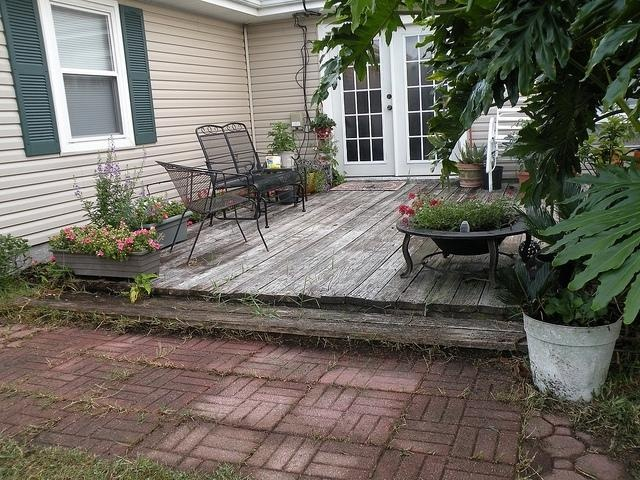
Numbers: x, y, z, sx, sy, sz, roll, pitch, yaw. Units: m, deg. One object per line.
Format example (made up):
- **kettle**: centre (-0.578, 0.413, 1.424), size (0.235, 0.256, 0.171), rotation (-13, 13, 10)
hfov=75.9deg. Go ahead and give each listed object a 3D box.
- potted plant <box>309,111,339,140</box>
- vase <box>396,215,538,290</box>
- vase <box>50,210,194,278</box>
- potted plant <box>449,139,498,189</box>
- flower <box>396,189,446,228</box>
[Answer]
- **potted plant**: centre (0.095, -2.243, 7.985), size (0.577, 0.500, 0.559), rotation (-2, 16, -2)
- **vase**: centre (1.127, 0.031, 3.425), size (0.783, 0.255, 0.765), rotation (4, 13, 30)
- **vase**: centre (-2.050, 0.093, 4.093), size (0.772, 0.284, 0.720), rotation (5, 16, 12)
- **potted plant**: centre (2.760, -1.307, 7.071), size (0.653, 0.850, 1.141), rotation (-5, 14, -2)
- **flower**: centre (1.082, -0.329, 4.350), size (0.629, 0.332, 0.589), rotation (1, 27, 27)
